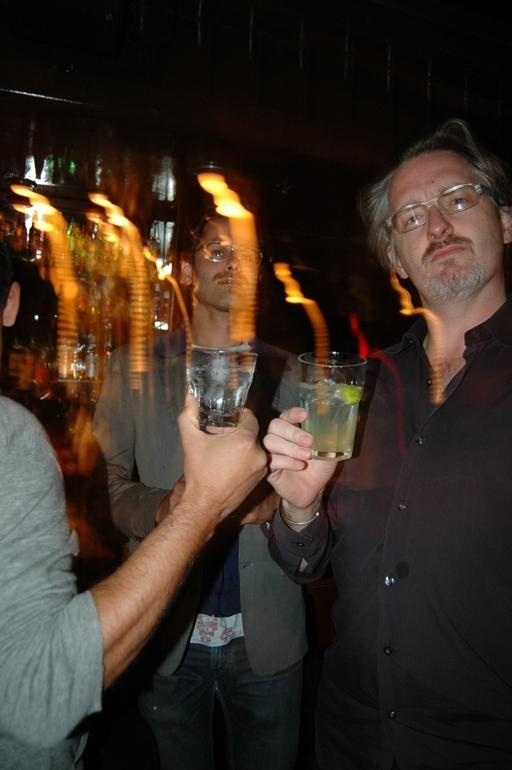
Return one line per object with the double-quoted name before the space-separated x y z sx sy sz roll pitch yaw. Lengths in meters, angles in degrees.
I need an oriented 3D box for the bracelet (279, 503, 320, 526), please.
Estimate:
"bracelet" 0.152 0.445 2.082 0.101 0.094 0.024 -1 8 7
